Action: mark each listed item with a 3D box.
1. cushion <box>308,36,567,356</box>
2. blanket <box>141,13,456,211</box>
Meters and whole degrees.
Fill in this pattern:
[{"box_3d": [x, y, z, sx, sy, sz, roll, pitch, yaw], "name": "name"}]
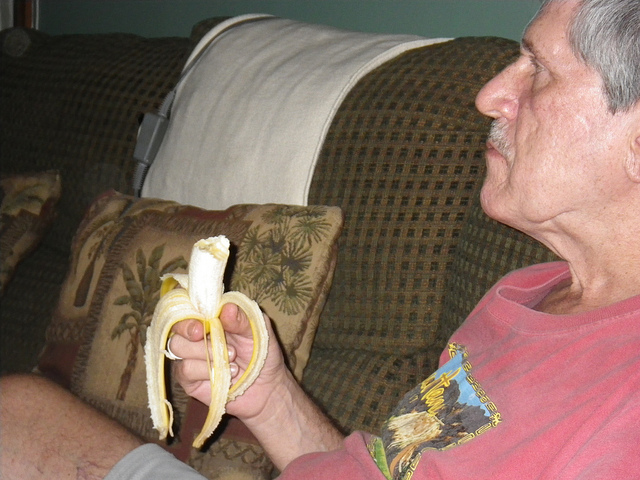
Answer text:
[{"box_3d": [0.283, -0.099, 1.621, 0.626, 0.846, 0.339, 13, 19, 17], "name": "cushion"}, {"box_3d": [-0.089, -0.252, 1.903, 0.666, 0.697, 0.211, 17, -8, 37], "name": "blanket"}]
